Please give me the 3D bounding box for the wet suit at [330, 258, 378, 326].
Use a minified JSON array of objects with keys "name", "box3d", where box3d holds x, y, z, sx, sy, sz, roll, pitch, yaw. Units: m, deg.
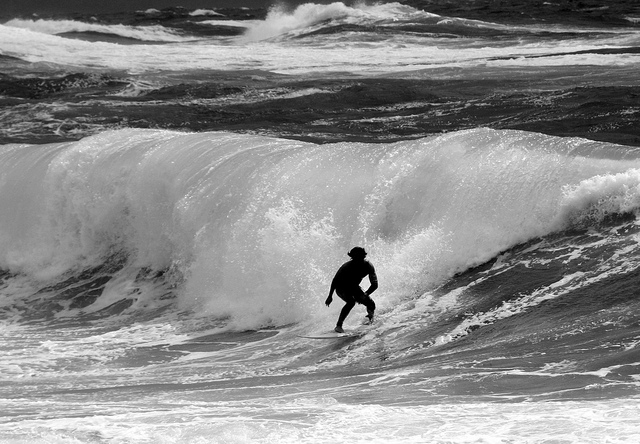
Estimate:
[{"name":"wet suit","box3d":[0.505,1.155,15.342,0.861,1.128,0.590,-21,45,-21]}]
